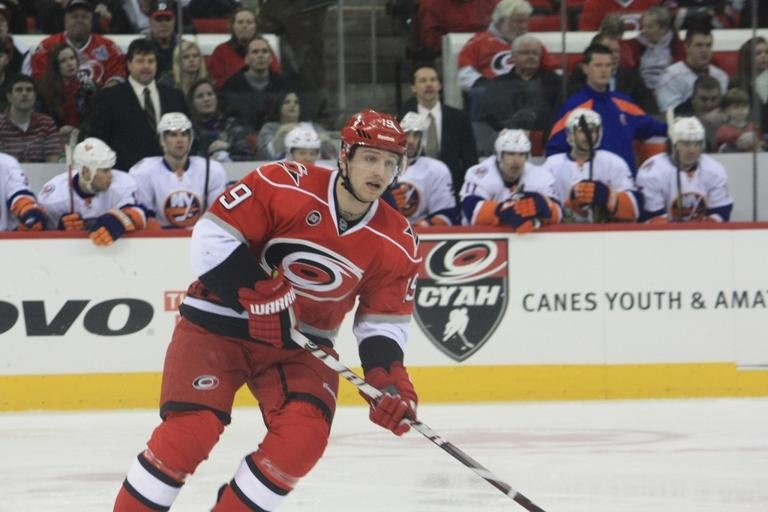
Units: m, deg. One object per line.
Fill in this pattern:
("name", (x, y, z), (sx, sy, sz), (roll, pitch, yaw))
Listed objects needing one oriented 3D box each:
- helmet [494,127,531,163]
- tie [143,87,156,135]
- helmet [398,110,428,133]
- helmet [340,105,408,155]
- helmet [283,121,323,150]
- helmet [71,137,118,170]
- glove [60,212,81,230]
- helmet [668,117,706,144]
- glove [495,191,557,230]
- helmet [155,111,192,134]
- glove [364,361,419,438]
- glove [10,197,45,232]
("helmet", (1.075, -0.927, 11.273), (0.217, 0.216, 0.249), (3, -6, -8))
("tie", (-1.890, -1.192, 11.173), (0.063, 0.445, 0.044), (1, -22, -15))
("helmet", (0.283, -1.080, 11.216), (0.220, 0.258, 0.277), (1, 4, 9))
("helmet", (-0.051, -0.771, 8.570), (0.289, 0.323, 0.340), (17, -12, -34))
("helmet", (-0.629, -0.979, 11.084), (0.200, 0.232, 0.249), (2, 12, -7))
("helmet", (-2.278, -0.805, 10.902), (0.288, 0.248, 0.234), (10, 22, 8))
("glove", (-2.457, -0.271, 10.900), (0.153, 0.126, 0.140), (2, 11, 6))
("helmet", (2.532, -1.037, 11.343), (0.210, 0.226, 0.261), (4, -14, -5))
("glove", (1.142, -0.358, 10.958), (0.343, 0.136, 0.343), (4, 41, 23))
("helmet", (-1.686, -1.053, 11.103), (0.177, 0.183, 0.205), (3, -17, -43))
("glove", (0.069, 0.903, 8.623), (0.426, 0.326, 0.173), (47, 28, 21))
("glove", (-2.813, -0.353, 10.883), (0.192, 0.307, 0.130), (-29, -1, -19))
